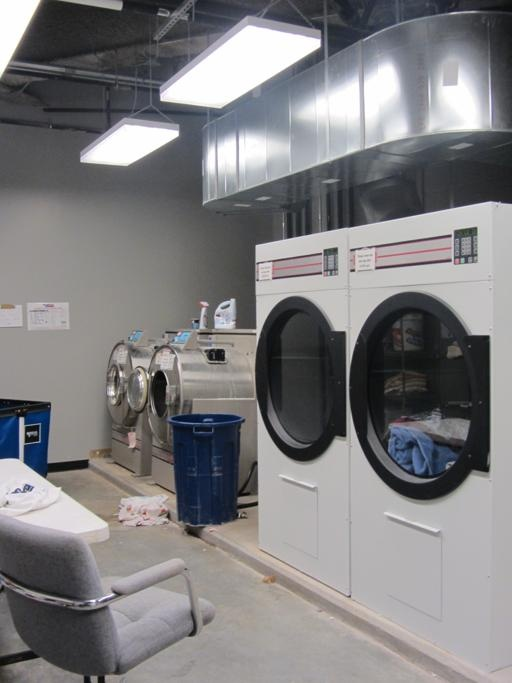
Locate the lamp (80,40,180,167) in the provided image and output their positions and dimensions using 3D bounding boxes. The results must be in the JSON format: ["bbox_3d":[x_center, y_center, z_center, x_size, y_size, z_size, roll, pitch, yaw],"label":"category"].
[{"bbox_3d":[-0.828,-1.476,3.599,0.436,0.312,0.820,0,1,-32],"label":"lamp"}]

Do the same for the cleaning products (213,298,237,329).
[{"bbox_3d":[-0.266,-0.237,4.882,0.162,0.242,0.446,-4,1,-7],"label":"cleaning products"}]
